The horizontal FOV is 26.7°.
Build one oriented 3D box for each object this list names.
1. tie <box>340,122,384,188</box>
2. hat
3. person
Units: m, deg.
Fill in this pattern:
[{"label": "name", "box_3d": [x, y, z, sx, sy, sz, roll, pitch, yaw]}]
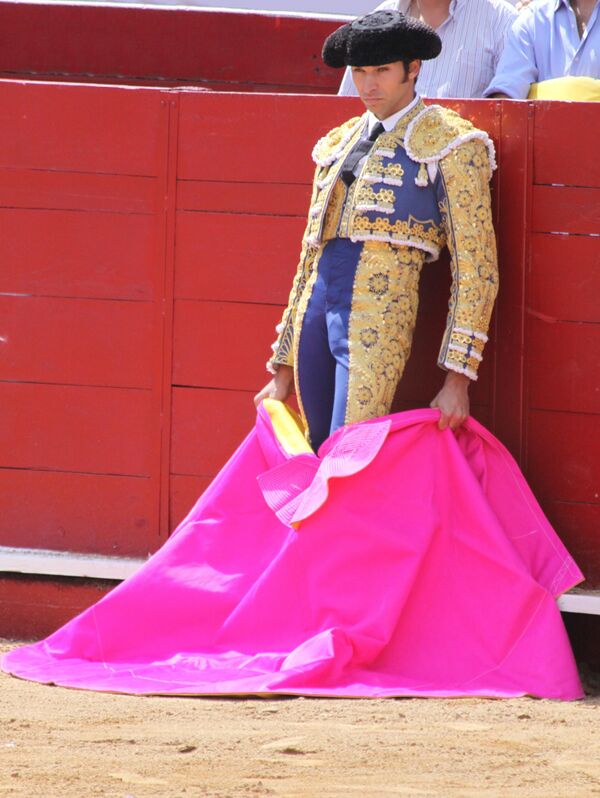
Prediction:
[{"label": "tie", "box_3d": [0.137, -0.546, 2.822, 0.058, 0.143, 0.107, 34, -3, -6]}, {"label": "hat", "box_3d": [0.171, -0.772, 2.709, 0.254, 0.127, 0.151, 1, 7, 13]}, {"label": "person", "box_3d": [0.155, -0.359, 2.840, 0.570, 0.971, 0.342, 2, 9, 19]}]
